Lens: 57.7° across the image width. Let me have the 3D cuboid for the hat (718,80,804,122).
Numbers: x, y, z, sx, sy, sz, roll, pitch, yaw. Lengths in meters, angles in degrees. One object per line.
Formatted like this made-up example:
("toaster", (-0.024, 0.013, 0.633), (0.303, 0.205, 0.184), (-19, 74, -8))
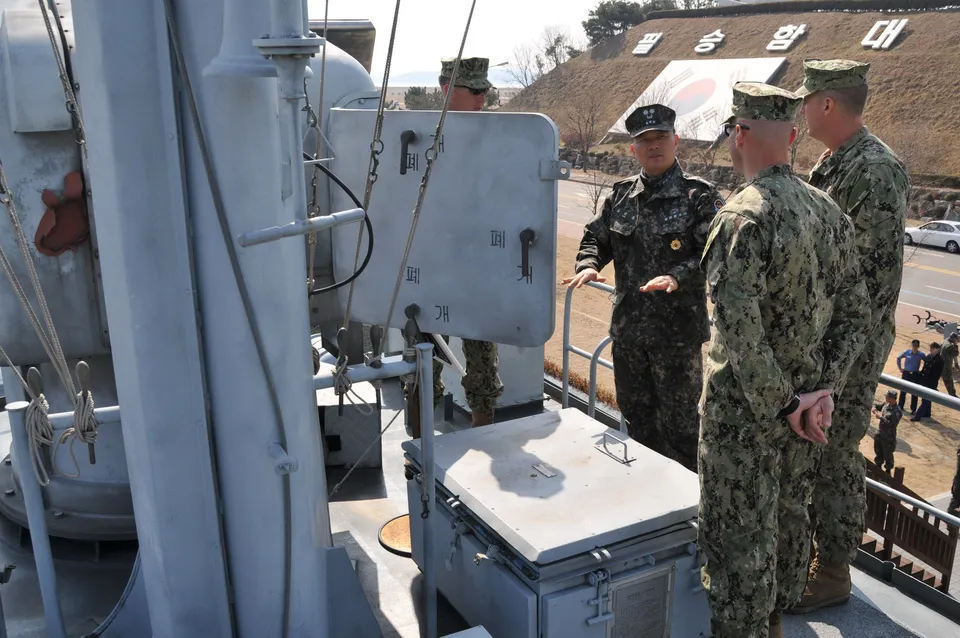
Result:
("hat", (1.240, -0.967, 3.803), (0.252, 0.113, 0.189), (4, 25, 9))

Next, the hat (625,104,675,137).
("hat", (0.978, -1.136, 5.014), (0.274, 0.197, 0.191), (3, 20, 7))

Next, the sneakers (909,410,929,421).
("sneakers", (7.601, 1.660, 15.133), (0.462, 0.136, 0.188), (8, -8, -44))
